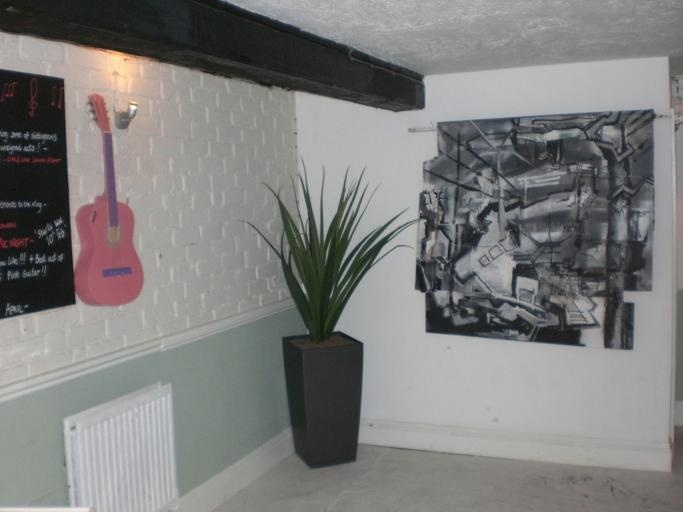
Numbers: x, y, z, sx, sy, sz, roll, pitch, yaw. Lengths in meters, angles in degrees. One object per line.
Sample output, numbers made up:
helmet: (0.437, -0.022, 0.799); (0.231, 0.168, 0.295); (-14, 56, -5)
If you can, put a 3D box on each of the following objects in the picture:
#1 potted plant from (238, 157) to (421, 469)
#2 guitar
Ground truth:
potted plant: (-0.052, 0.394, 3.868); (0.930, 2.050, 0.780); (3, 11, 25)
guitar: (-1.160, -0.266, 2.743); (0.199, 1.022, 0.271); (2, 11, 16)
